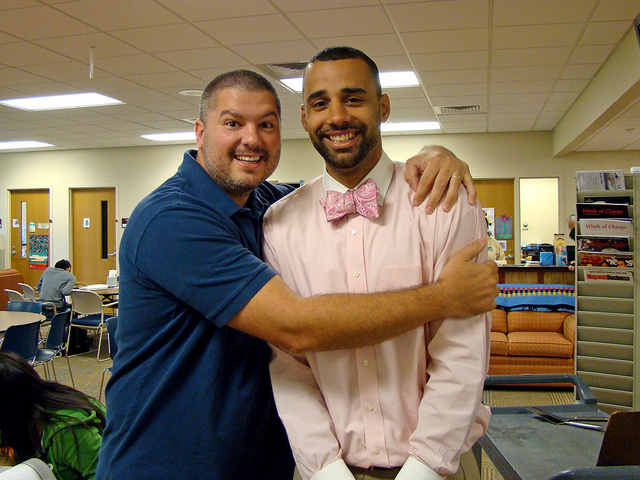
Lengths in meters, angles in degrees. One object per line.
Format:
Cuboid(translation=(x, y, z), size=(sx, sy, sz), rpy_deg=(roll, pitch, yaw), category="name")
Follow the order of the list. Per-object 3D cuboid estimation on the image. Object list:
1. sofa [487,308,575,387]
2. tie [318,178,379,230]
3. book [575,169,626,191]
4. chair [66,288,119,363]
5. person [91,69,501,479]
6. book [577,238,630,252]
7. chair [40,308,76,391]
Cuboid(translation=(2.366, 1.231, 5.270), size=(0.875, 0.825, 0.699), rpy_deg=(-1, -1, 24), category="sofa")
Cuboid(translation=(0.120, -0.152, 1.691), size=(0.200, 0.089, 0.164), rpy_deg=(4, -34, 6), category="tie")
Cuboid(translation=(2.449, -0.529, 4.106), size=(0.371, 0.190, 0.166), rpy_deg=(-2, -1, 33), category="book")
Cuboid(translation=(-3.022, 1.071, 6.373), size=(0.594, 0.889, 0.618), rpy_deg=(1, 4, 2), category="chair")
Cuboid(translation=(-0.213, 0.137, 1.690), size=(1.257, 1.594, 0.410), rpy_deg=(-1, -1, 15), category="person")
Cuboid(translation=(2.458, 0.032, 4.080), size=(0.374, 0.116, 0.024), rpy_deg=(-2, -2, 36), category="book")
Cuboid(translation=(-2.644, 1.089, 4.954), size=(0.396, 0.592, 0.418), rpy_deg=(9, 12, -10), category="chair")
